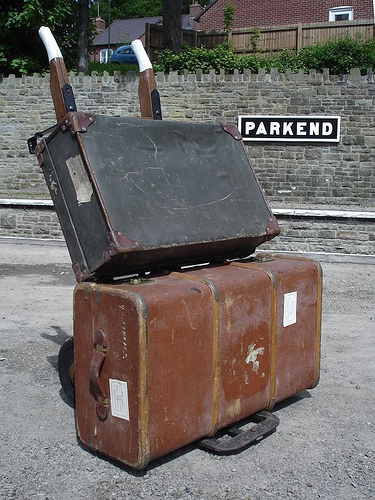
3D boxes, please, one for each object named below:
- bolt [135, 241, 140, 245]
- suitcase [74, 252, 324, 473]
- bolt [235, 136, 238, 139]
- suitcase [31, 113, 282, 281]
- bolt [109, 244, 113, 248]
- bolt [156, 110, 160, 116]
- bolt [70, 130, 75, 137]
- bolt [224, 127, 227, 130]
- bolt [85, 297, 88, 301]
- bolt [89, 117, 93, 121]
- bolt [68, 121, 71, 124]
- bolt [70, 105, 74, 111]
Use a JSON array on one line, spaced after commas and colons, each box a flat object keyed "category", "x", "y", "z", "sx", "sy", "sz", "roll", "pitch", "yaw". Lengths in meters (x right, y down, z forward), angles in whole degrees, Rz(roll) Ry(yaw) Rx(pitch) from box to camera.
[{"category": "bolt", "x": -0.278, "y": -0.043, "z": 3.480, "sx": 0.013, "sy": 0.017, "sz": 0.024, "roll": -8, "pitch": -3, "yaw": 34}, {"category": "suitcase", "x": 0.150, "y": 0.593, "z": 3.921, "sx": 1.677, "sy": 1.000, "sz": 0.594, "roll": -9, "pitch": 12, "yaw": -44}, {"category": "bolt", "x": 0.356, "y": -0.822, "z": 4.517, "sx": 0.018, "sy": 0.018, "sz": 0.030, "roll": -1, "pitch": 3, "yaw": 4}, {"category": "suitcase", "x": -0.158, "y": -0.351, "z": 4.118, "sx": 1.407, "sy": 0.923, "sz": 0.455, "roll": -6, "pitch": -19, "yaw": -44}, {"category": "bolt", "x": -0.416, "y": -0.028, "z": 3.415, "sx": 0.020, "sy": 0.021, "sz": 0.014, "roll": -1, "pitch": -7, "yaw": -14}, {"category": "bolt", "x": -0.215, "y": -1.023, "z": 4.614, "sx": 0.013, "sy": 0.031, "sz": 0.023, "roll": 0, "pitch": -4, "yaw": 34}, {"category": "bolt", "x": -0.666, "y": -0.681, "z": 3.624, "sx": 0.008, "sy": 0.033, "sz": 0.031, "roll": -7, "pitch": 6, "yaw": -29}, {"category": "bolt", "x": 0.277, "y": -0.878, "z": 4.484, "sx": 0.023, "sy": 0.025, "sz": 0.013, "roll": -1, "pitch": 4, "yaw": -24}, {"category": "bolt", "x": -0.558, "y": 0.267, "z": 3.458, "sx": 0.015, "sy": 0.026, "sz": 0.014, "roll": 7, "pitch": 12, "yaw": 32}, {"category": "bolt", "x": -0.566, "y": -0.773, "z": 3.663, "sx": 0.019, "sy": 0.021, "sz": 0.005, "roll": 1, "pitch": -7, "yaw": -8}, {"category": "bolt", "x": -0.683, "y": -0.747, "z": 3.626, "sx": 0.015, "sy": 0.011, "sz": 0.009, "roll": -5, "pitch": 6, "yaw": -13}, {"category": "bolt", "x": -0.755, "y": -0.934, "z": 4.097, "sx": 0.013, "sy": 0.031, "sz": 0.047, "roll": 3, "pitch": 9, "yaw": 14}]
